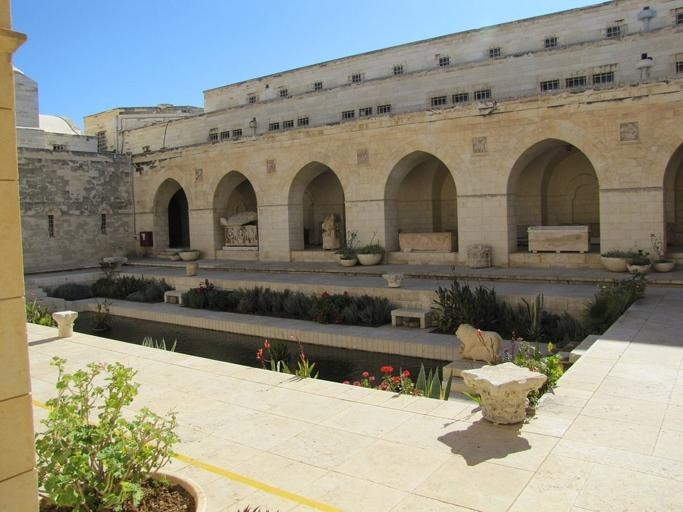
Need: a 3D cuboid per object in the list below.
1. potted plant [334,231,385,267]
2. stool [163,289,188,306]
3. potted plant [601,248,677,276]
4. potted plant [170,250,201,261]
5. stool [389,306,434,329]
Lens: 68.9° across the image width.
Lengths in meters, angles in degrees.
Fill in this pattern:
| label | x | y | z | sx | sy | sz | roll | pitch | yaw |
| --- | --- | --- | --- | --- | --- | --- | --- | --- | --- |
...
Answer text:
| label | x | y | z | sx | sy | sz | roll | pitch | yaw |
| --- | --- | --- | --- | --- | --- | --- | --- | --- | --- |
| potted plant | 0.624 | -0.255 | 17.879 | 1.196 | 0.996 | 1.436 | 0 | 1 | 2 |
| stool | -5.167 | 1.300 | 15.458 | 0.625 | 0.301 | 0.444 | 2 | 1 | 30 |
| potted plant | 7.987 | 0.162 | 13.385 | 1.678 | 0.544 | 0.996 | -3 | 7 | -2 |
| potted plant | -7.047 | -0.037 | 22.515 | 1.514 | 0.462 | 0.846 | 3 | 9 | 38 |
| stool | 1.545 | 1.432 | 11.326 | 0.917 | 0.380 | 0.420 | -1 | 7 | 12 |
